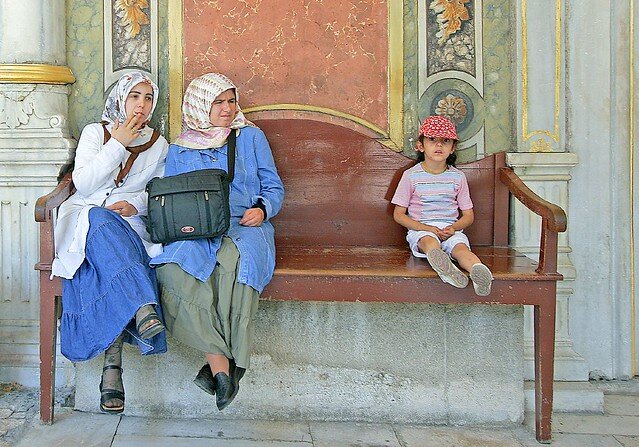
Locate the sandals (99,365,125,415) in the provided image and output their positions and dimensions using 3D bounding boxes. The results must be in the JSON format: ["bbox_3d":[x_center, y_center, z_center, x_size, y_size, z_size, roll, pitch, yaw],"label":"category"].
[{"bbox_3d":[-1.218,0.977,4.853,0.124,0.279,0.167,0,2,-14],"label":"sandals"}]

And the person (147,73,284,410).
[{"bbox_3d":[-0.616,0.037,5.098,0.777,2.029,0.795,1,2,-3],"label":"person"}]

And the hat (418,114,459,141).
[{"bbox_3d":[0.775,-0.626,5.367,0.179,0.093,0.212,5,-8,2],"label":"hat"}]

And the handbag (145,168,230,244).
[{"bbox_3d":[-0.766,-0.118,5.049,0.582,0.412,0.273,-8,5,15],"label":"handbag"}]

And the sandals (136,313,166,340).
[{"bbox_3d":[-0.972,0.589,4.783,0.164,0.108,0.156,-29,-13,4],"label":"sandals"}]

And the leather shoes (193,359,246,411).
[{"bbox_3d":[-0.587,0.936,4.835,0.242,0.256,0.184,1,2,18],"label":"leather shoes"}]

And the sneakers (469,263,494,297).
[{"bbox_3d":[0.947,0.329,4.841,0.138,0.203,0.105,1,2,9],"label":"sneakers"}]
